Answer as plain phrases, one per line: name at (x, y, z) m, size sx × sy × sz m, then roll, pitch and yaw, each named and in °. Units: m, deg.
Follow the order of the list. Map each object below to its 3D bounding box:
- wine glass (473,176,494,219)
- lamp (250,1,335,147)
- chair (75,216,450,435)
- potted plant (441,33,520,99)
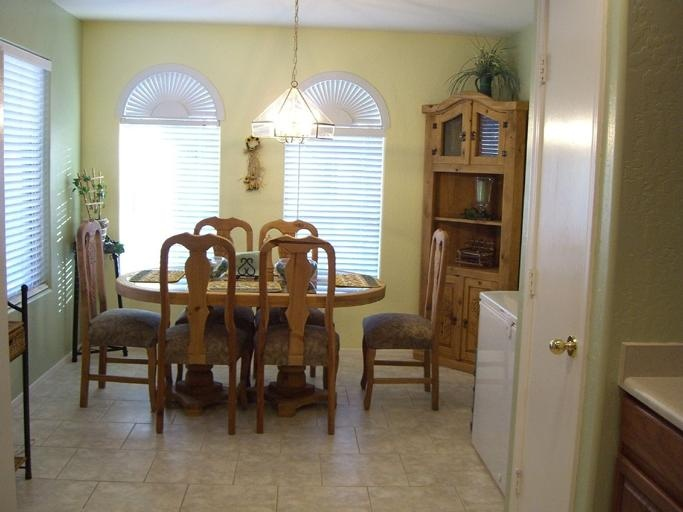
wine glass at (1.277, -0.530, 4.939) m, size 0.152 × 0.363 × 0.378 m, roll 5°, pitch 11°, yaw 16°
lamp at (-0.416, -1.470, 4.431) m, size 0.767 × 1.103 × 1.565 m, roll 2°, pitch 10°, yaw 1°
chair at (-0.453, 0.471, 3.944) m, size 2.419 × 1.347 × 0.794 m, roll 1°, pitch 10°, yaw -4°
potted plant at (1.312, -1.672, 5.033) m, size 0.562 × 0.556 × 0.553 m, roll 3°, pitch 9°, yaw 21°
